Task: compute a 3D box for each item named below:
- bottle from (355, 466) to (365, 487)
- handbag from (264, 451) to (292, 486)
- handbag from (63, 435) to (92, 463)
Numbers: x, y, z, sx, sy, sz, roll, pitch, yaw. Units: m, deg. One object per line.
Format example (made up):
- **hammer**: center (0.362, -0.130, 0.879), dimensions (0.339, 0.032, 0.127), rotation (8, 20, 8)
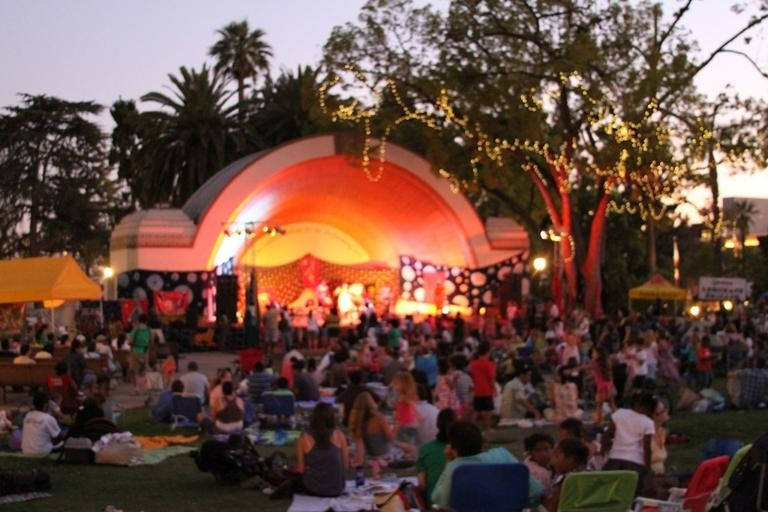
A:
- **bottle**: center (-0.377, 3.479, 12.267), dimensions (0.144, 0.302, 0.435), rotation (2, -7, -2)
- **handbag**: center (-1.728, 3.479, 12.734), dimensions (0.546, 0.578, 0.388), rotation (-3, -4, 39)
- **handbag**: center (-5.435, 3.455, 13.831), dimensions (0.403, 0.363, 0.488), rotation (-1, 2, -24)
